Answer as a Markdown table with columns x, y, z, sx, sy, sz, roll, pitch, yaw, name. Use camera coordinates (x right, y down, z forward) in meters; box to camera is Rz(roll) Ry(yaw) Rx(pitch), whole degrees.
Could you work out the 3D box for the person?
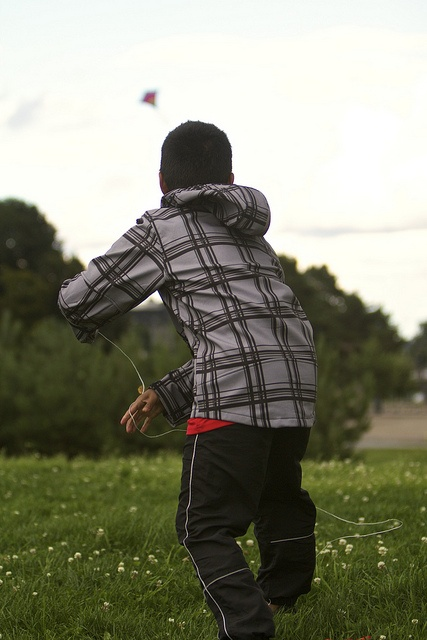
| x | y | z | sx | sy | sz | roll | pitch | yaw | name |
| --- | --- | --- | --- | --- | --- | --- | --- | --- | --- |
| -0.049 | 0.317 | 2.880 | 0.792 | 1.582 | 0.637 | 1 | 1 | 27 | person |
